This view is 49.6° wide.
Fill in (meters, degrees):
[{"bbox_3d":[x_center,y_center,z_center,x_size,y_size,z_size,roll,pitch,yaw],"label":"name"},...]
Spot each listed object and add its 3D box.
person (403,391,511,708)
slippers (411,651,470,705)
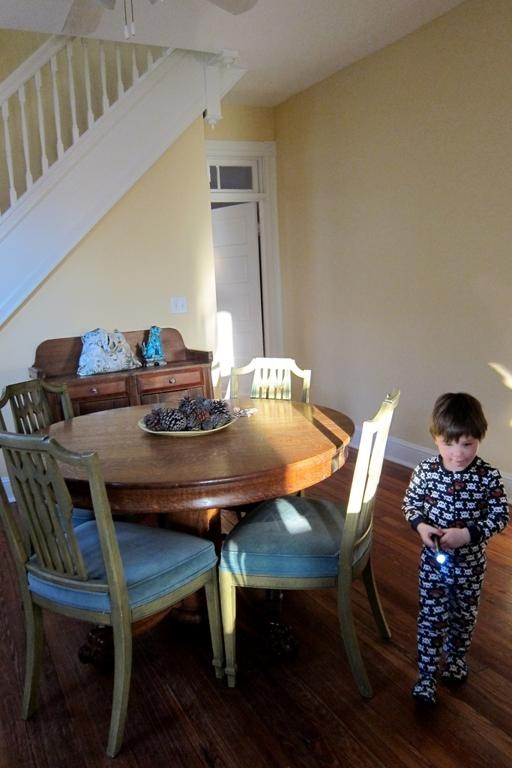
[{"bbox_3d":[0.502,0.428,1.431,0.224,0.823,0.348,-3,7,3],"label":"person"},{"bbox_3d":[0.493,0.784,1.475,0.067,0.085,0.214,-2,-17,36],"label":"slippers"}]
